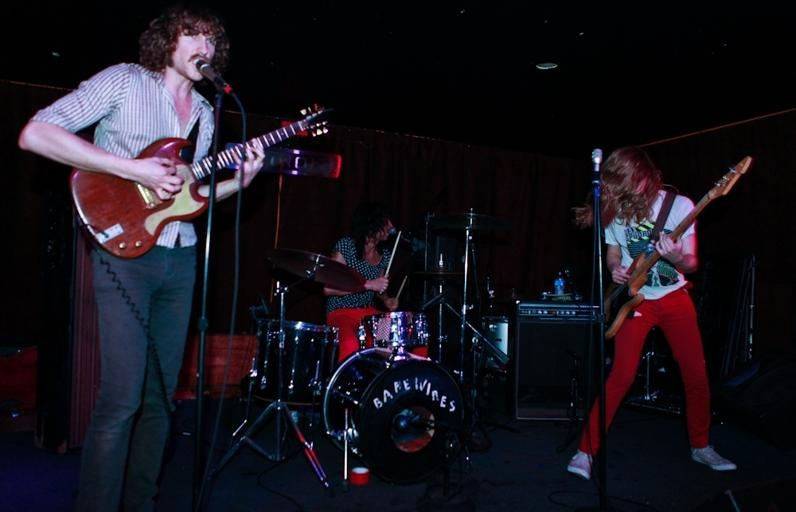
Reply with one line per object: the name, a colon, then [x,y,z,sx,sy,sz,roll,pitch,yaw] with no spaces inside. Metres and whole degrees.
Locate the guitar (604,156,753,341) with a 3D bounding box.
guitar: [2.848,-0.183,6.064,0.157,0.675,2.058,37,-30,20]

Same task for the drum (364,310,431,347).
drum: [-0.046,0.622,5.394,0.397,0.182,0.344,-2,-7,26]

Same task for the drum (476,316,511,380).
drum: [1.080,1.132,7.366,0.422,0.725,0.442,7,-26,3]

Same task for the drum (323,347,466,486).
drum: [-0.028,1.156,5.335,1.314,1.338,0.895,0,6,-26]

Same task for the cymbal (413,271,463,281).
cymbal: [0.415,0.199,6.473,0.490,0.088,0.272,3,-4,3]

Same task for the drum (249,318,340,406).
drum: [-0.930,0.928,5.850,0.725,0.584,0.752,7,-9,1]

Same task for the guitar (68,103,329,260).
guitar: [-1.267,-0.546,4.167,1.613,0.681,0.188,-29,13,-19]

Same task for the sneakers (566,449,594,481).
sneakers: [1.545,1.784,5.398,0.108,0.223,0.334,15,-18,48]

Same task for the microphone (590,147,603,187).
microphone: [1.534,-0.676,4.871,0.049,0.322,0.375,2,-4,18]

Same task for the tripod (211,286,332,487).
tripod: [-1.153,1.061,5.566,0.961,1.633,0.986,0,8,-14]

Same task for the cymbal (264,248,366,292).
cymbal: [-0.753,0.112,5.546,0.553,0.141,0.586,11,-26,26]

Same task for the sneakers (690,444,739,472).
sneakers: [2.740,1.749,5.550,0.163,0.185,0.427,1,-5,-34]
